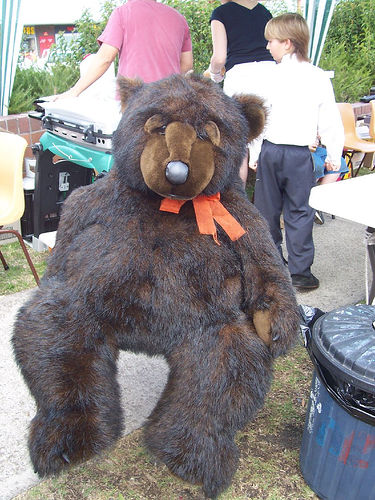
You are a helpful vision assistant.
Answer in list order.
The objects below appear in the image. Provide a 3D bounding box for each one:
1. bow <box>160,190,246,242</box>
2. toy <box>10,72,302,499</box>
[{"bbox_3d":[0.083,-0.086,1.407,0.149,0.206,0.057,-31,-13,-8],"label":"bow"},{"bbox_3d":[-0.088,0.075,1.377,0.898,1.229,0.646,6,16,6],"label":"toy"}]
